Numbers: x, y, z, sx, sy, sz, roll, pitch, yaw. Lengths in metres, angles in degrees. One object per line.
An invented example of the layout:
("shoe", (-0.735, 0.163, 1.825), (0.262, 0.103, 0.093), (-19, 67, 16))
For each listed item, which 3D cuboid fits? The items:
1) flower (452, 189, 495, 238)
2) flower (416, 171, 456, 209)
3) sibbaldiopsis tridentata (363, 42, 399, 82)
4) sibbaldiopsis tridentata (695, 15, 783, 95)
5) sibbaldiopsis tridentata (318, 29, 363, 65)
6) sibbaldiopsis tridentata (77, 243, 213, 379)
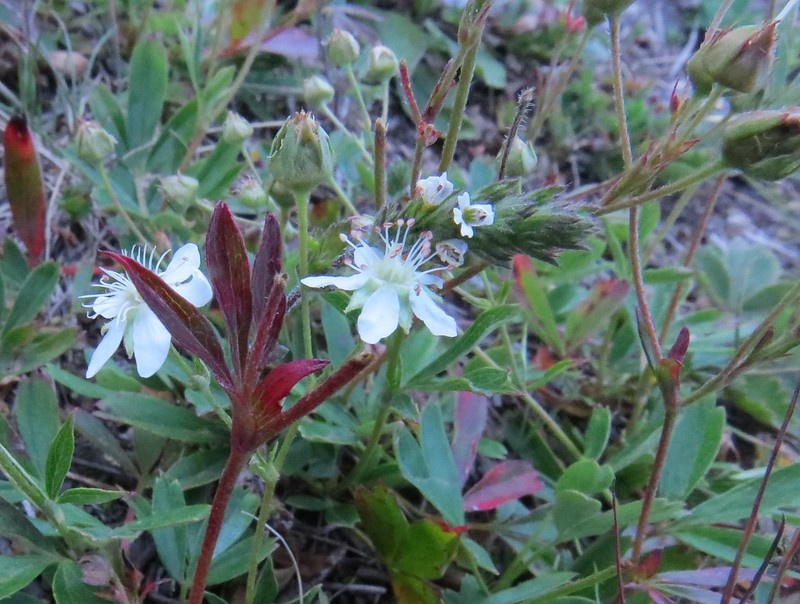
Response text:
("flower", (0.135, -0.143, 1.342), (0.073, 0.073, 0.040), (39, 93, 30))
("flower", (0.062, -0.195, 1.357), (0.052, 0.063, 0.067), (17, 75, -51))
("sibbaldiopsis tridentata", (-0.044, -0.580, 1.892), (0.065, 0.097, 0.115), (6, 55, -11))
("sibbaldiopsis tridentata", (0.617, -0.452, 1.412), (0.138, 0.115, 0.112), (25, 54, 2))
("sibbaldiopsis tridentata", (-0.142, -0.621, 1.894), (0.086, 0.081, 0.071), (19, 24, 24))
("sibbaldiopsis tridentata", (-0.450, 0.000, 1.343), (0.162, 0.156, 0.094), (34, 49, -43))
